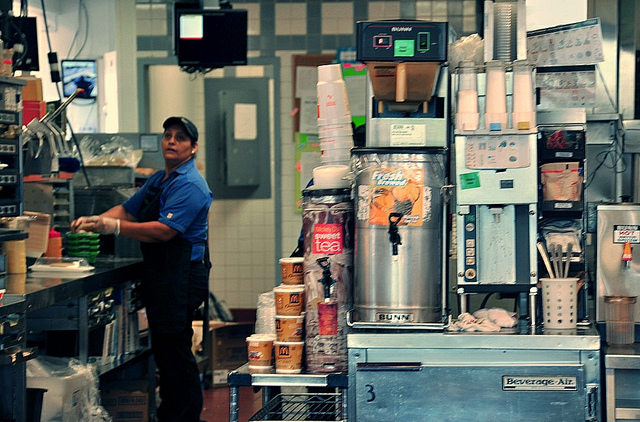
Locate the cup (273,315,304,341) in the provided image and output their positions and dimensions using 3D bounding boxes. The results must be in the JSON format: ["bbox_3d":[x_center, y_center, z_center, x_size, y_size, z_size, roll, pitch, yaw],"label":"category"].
[{"bbox_3d":[-0.186,0.764,7.800,0.244,0.163,0.244,-1,-7,0],"label":"cup"}]

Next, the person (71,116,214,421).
[{"bbox_3d":[-1.166,0.428,8.691,0.854,2.195,0.565,-1,1,-16],"label":"person"}]

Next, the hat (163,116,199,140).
[{"bbox_3d":[-1.002,-0.604,8.791,0.224,0.160,0.162,-1,1,-35],"label":"hat"}]

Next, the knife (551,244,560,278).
[{"bbox_3d":[1.535,0.324,7.861,0.039,0.206,0.096,-1,1,-2],"label":"knife"}]

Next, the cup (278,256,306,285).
[{"bbox_3d":[-0.155,0.393,7.897,0.201,0.153,0.192,-1,1,0],"label":"cup"}]

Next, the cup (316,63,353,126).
[{"bbox_3d":[0.092,-0.761,7.944,0.225,0.401,0.149,0,1,4],"label":"cup"}]

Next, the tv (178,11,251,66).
[{"bbox_3d":[-0.831,-1.401,10.160,0.856,0.578,0.419,0,0,-2],"label":"tv"}]

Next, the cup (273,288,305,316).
[{"bbox_3d":[-0.199,0.579,7.730,0.195,0.120,0.184,0,-3,0],"label":"cup"}]

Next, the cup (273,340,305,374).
[{"bbox_3d":[-0.202,0.947,7.783,0.260,0.182,0.257,1,-10,0],"label":"cup"}]

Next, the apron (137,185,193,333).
[{"bbox_3d":[-1.086,0.527,8.590,0.349,0.673,0.128,-1,1,-3],"label":"apron"}]
